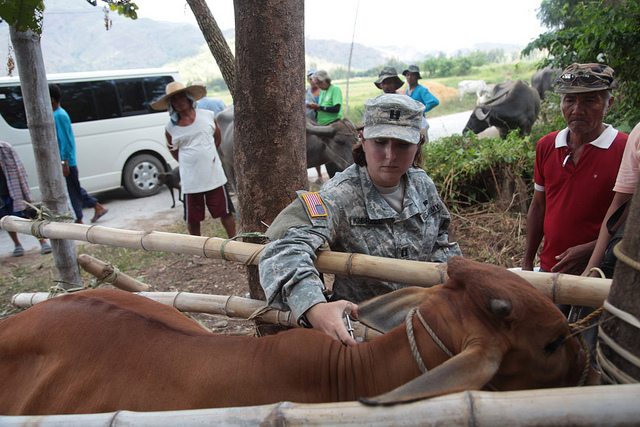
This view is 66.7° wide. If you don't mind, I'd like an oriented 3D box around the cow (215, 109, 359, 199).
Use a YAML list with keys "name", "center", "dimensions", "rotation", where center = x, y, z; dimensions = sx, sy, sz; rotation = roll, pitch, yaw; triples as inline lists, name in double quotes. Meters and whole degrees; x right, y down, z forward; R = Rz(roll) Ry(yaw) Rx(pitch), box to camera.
- name: "cow"
  center: [-0.505, -0.899, 7.690]
  dimensions: [2.694, 1.310, 0.812]
  rotation: [2, 21, 4]

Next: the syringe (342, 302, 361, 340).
- name: "syringe"
  center: [0.162, 0.566, 2.568]
  dimensions: [0.050, 0.174, 0.074]
  rotation: [-18, -29, 23]

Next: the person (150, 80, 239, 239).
- name: "person"
  center: [-1.531, -0.631, 6.040]
  dimensions: [0.775, 1.951, 0.785]
  rotation: [-8, 20, -15]

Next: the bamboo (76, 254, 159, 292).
- name: "bamboo"
  center: [-1.942, 0.577, 4.693]
  dimensions: [0.820, 0.113, 0.169]
  rotation: [27, 16, -13]

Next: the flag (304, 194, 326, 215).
- name: "flag"
  center: [-0.036, -0.051, 2.854]
  dimensions: [0.135, 0.022, 0.167]
  rotation: [-8, 56, -35]

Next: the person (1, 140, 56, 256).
- name: "person"
  center: [-4.041, -0.150, 6.442]
  dimensions: [0.478, 1.597, 0.835]
  rotation: [-14, 23, -29]

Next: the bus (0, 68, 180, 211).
- name: "bus"
  center: [-4.920, -1.360, 8.999]
  dimensions: [3.728, 1.946, 2.220]
  rotation: [-11, 12, -38]
